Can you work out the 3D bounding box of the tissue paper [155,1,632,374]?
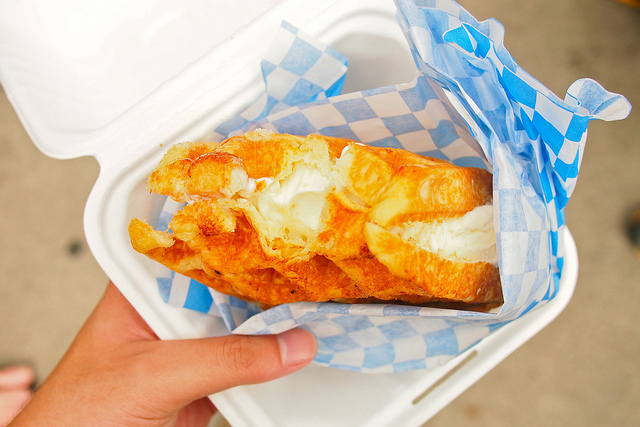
[{"bbox_3d":[0.190,-0.047,1.871,1.179,0.560,1.073,24,80,7],"label":"tissue paper"}]
